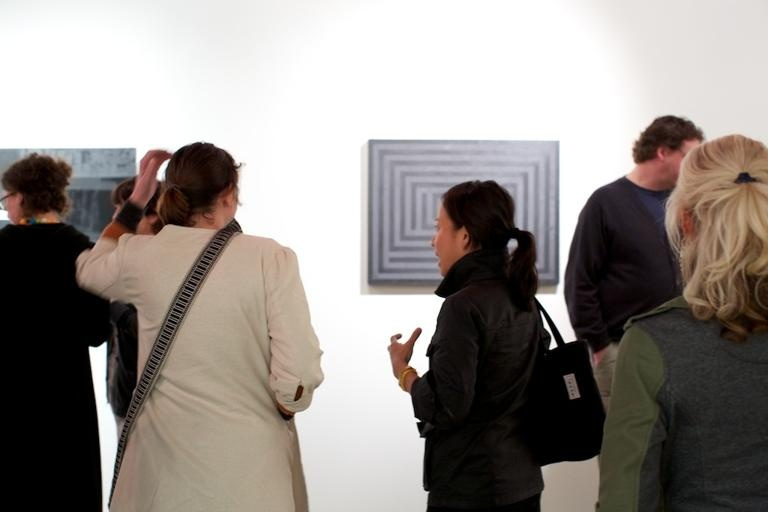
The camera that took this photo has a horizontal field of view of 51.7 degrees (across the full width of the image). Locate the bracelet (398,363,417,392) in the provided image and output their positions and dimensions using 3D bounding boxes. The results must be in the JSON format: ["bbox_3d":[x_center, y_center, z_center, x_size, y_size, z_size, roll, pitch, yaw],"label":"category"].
[{"bbox_3d":[0.113,0.553,3.618,0.086,0.105,0.057,-1,-11,20],"label":"bracelet"}]
